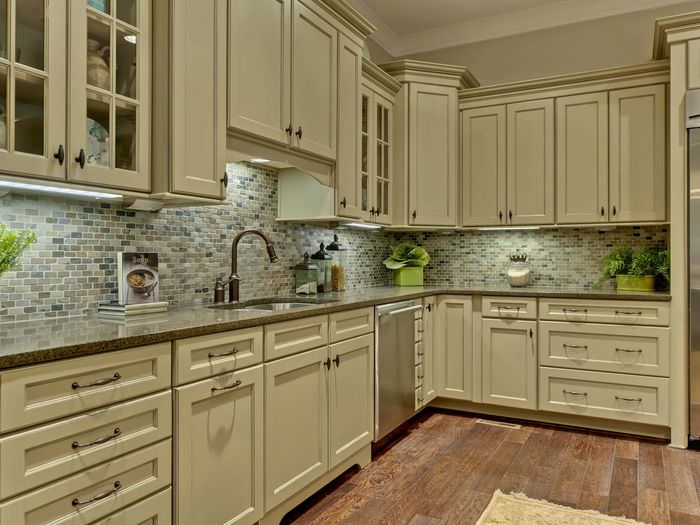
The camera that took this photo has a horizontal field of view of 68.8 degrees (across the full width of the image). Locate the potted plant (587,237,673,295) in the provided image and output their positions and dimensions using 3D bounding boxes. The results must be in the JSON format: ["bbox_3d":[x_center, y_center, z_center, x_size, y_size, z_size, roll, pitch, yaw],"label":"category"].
[{"bbox_3d":[2.207,0.032,3.997,0.524,0.374,0.424,2,5,29],"label":"potted plant"}]

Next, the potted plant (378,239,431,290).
[{"bbox_3d":[0.501,0.027,4.497,0.369,0.358,0.384,1,-3,-10],"label":"potted plant"}]

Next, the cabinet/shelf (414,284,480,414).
[{"bbox_3d":[0.747,0.680,4.076,0.496,0.832,0.260,-2,5,-22],"label":"cabinet/shelf"}]

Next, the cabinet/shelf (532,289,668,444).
[{"bbox_3d":[1.894,0.700,4.026,1.086,1.156,0.741,-2,-6,31],"label":"cabinet/shelf"}]

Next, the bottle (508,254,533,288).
[{"bbox_3d":[1.475,0.069,4.398,0.202,0.268,0.273,1,5,20],"label":"bottle"}]

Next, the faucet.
[{"bbox_3d":[-0.596,0.013,3.055,0.259,0.416,0.513,-2,5,-14],"label":"faucet"}]
